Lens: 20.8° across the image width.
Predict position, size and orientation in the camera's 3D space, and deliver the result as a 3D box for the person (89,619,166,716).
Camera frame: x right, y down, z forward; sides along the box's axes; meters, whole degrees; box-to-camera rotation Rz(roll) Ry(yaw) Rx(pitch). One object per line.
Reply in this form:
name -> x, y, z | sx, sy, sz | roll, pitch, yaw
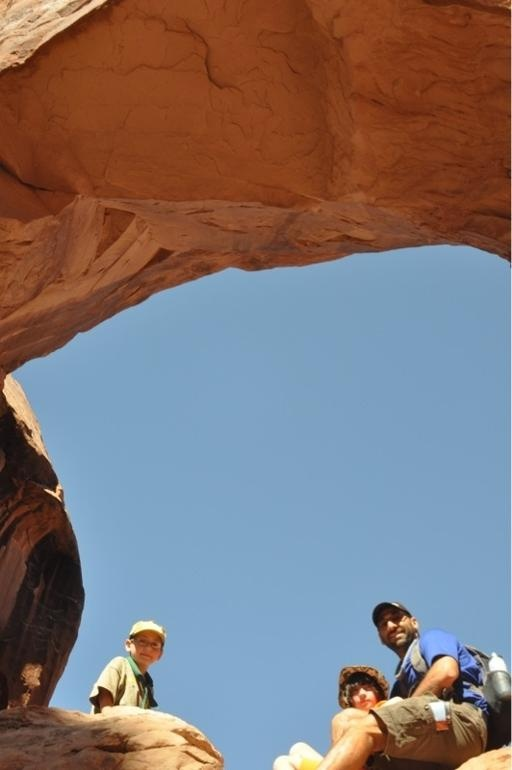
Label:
person -> -0.860, 1.815, 9.072 | 0.336, 0.787, 0.516 | -8, -37, 17
